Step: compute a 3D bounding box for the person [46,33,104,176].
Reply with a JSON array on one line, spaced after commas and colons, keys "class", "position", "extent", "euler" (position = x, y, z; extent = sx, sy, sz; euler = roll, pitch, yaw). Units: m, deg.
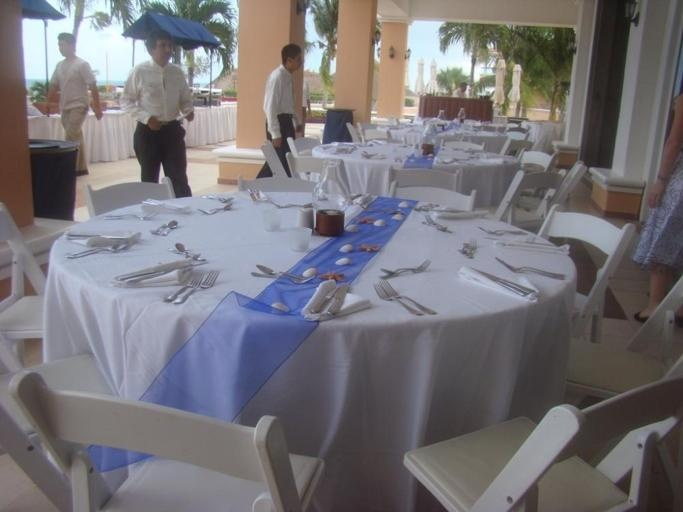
[{"class": "person", "position": [-3.622, -2.024, 6.846], "extent": [0.658, 1.846, 0.863], "euler": [-10, 20, -30]}]

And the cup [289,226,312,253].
[{"class": "cup", "position": [-0.158, -0.071, 1.923], "extent": [0.068, 0.075, 0.086], "euler": [3, 10, 1]}]

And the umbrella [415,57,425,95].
[{"class": "umbrella", "position": [3.109, -7.112, 20.062], "extent": [0.303, 1.368, 0.979], "euler": [3, 17, 8]}]

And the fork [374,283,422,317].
[{"class": "fork", "position": [0.171, 0.121, 1.585], "extent": [0.052, 0.038, 0.232], "euler": [-8, 25, -27]}]

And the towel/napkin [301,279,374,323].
[{"class": "towel/napkin", "position": [-0.028, 0.085, 1.490], "extent": [0.113, 0.062, 0.152], "euler": [16, 29, 38]}]

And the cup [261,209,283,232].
[{"class": "cup", "position": [-0.301, -0.156, 2.115], "extent": [0.065, 0.073, 0.082], "euler": [1, 9, -2]}]

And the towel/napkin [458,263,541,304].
[{"class": "towel/napkin", "position": [0.483, 0.061, 1.716], "extent": [0.349, 0.088, 0.093], "euler": [12, -23, 14]}]

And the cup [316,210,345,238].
[{"class": "cup", "position": [-0.046, -0.147, 2.173], "extent": [0.094, 0.091, 0.105], "euler": [3, 11, 9]}]

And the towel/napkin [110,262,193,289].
[{"class": "towel/napkin", "position": [-0.611, 0.030, 1.629], "extent": [0.247, 0.099, 0.087], "euler": [-1, 11, -30]}]

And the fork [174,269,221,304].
[{"class": "fork", "position": [-0.463, 0.071, 1.587], "extent": [0.040, 0.029, 0.192], "euler": [4, 28, 13]}]

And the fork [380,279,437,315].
[{"class": "fork", "position": [0.193, 0.098, 1.555], "extent": [0.064, 0.039, 0.233], "euler": [-14, 30, -26]}]

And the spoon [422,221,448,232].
[{"class": "spoon", "position": [0.425, -0.142, 2.313], "extent": [0.037, 0.054, 0.126], "euler": [-31, 34, -30]}]

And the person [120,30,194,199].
[{"class": "person", "position": [-1.639, -1.225, 4.563], "extent": [0.607, 1.422, 0.427], "euler": [-8, 19, -28]}]

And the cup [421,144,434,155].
[{"class": "cup", "position": [0.766, -0.946, 4.473], "extent": [0.087, 0.081, 0.098], "euler": [-2, 19, 1]}]
